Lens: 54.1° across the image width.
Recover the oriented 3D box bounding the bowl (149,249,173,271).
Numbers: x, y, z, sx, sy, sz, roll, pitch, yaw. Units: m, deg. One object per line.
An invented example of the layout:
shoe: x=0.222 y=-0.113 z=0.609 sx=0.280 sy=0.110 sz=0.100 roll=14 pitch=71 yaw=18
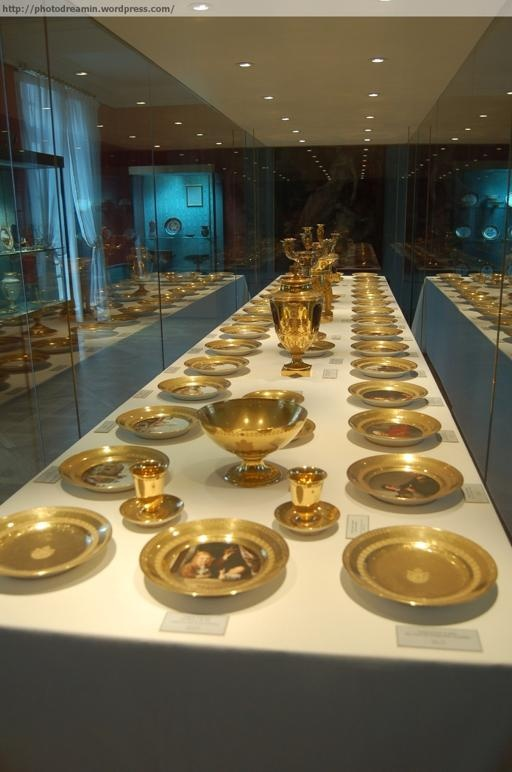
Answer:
bowl: x=-0.750 y=-0.994 z=3.960 sx=0.147 sy=0.141 sz=0.193 roll=0 pitch=7 yaw=1
